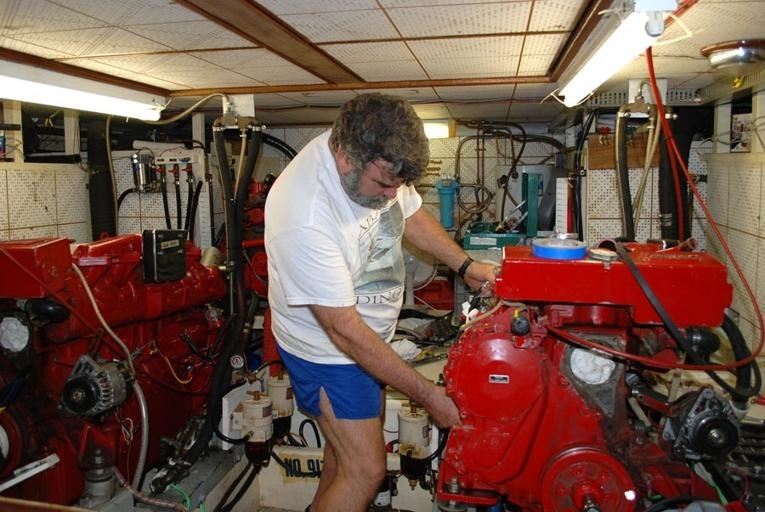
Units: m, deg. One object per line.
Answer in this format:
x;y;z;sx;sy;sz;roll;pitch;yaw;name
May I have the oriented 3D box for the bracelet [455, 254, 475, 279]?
0.509;0.070;3.349;0.136;0.129;0.129;8;-15;13;bracelet
